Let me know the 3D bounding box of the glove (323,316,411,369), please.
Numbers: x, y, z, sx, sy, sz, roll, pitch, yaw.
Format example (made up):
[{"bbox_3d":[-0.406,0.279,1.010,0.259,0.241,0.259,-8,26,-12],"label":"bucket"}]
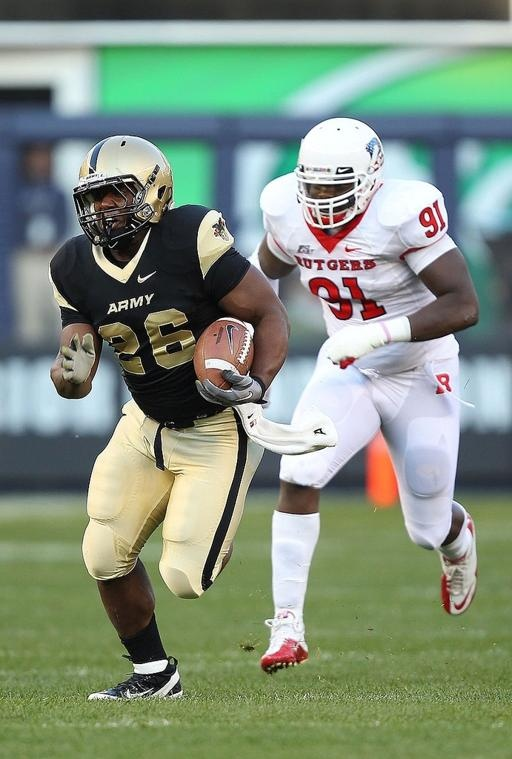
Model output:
[{"bbox_3d":[0.321,-0.109,2.699,0.310,0.095,0.101,-12,25,10],"label":"glove"}]

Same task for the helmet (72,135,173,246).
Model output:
[{"bbox_3d":[-0.357,-0.492,2.424,0.257,0.239,0.294,-3,11,30],"label":"helmet"}]

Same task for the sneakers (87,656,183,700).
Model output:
[{"bbox_3d":[-0.283,0.776,2.408,0.307,0.106,0.090,2,-6,-20],"label":"sneakers"}]

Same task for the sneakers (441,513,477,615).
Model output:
[{"bbox_3d":[0.783,0.695,3.516,0.155,0.379,0.172,2,11,23],"label":"sneakers"}]

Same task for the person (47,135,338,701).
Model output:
[{"bbox_3d":[-0.271,0.112,2.461,0.709,1.439,0.656,-21,27,-27],"label":"person"}]

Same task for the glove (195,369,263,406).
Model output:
[{"bbox_3d":[-0.061,0.018,2.179,0.076,0.058,0.139,-16,-3,39],"label":"glove"}]

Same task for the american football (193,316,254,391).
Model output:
[{"bbox_3d":[-0.082,-0.065,2.286,0.128,0.112,0.183,30,62,11],"label":"american football"}]

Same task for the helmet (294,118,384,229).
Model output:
[{"bbox_3d":[0.251,-0.649,2.819,0.257,0.253,0.319,19,50,27],"label":"helmet"}]
